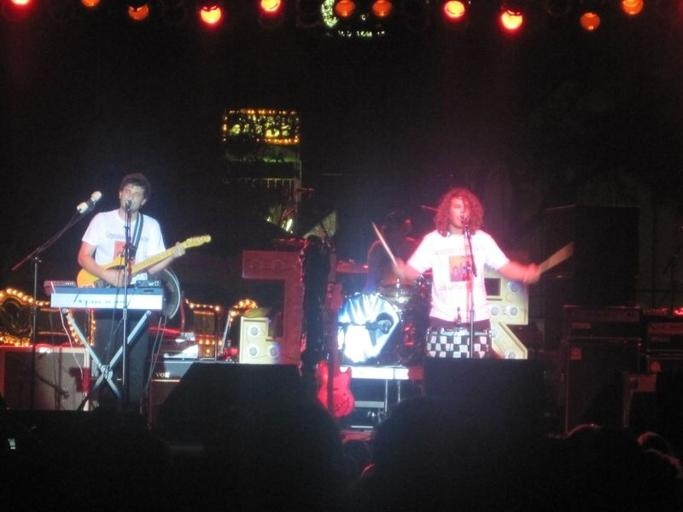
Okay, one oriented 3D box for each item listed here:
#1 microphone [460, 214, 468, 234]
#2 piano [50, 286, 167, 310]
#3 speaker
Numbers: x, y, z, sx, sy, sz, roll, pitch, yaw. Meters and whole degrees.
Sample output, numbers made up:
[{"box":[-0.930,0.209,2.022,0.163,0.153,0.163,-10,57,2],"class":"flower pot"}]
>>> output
[{"box":[1.199,-0.310,8.751,0.058,0.190,0.067,-2,-8,-36],"class":"microphone"},{"box":[-2.231,0.395,8.462,1.032,0.245,0.232,2,-9,2],"class":"piano"},{"box":[2.859,-0.011,10.216,0.991,1.445,0.955,-1,1,-11],"class":"speaker"}]
